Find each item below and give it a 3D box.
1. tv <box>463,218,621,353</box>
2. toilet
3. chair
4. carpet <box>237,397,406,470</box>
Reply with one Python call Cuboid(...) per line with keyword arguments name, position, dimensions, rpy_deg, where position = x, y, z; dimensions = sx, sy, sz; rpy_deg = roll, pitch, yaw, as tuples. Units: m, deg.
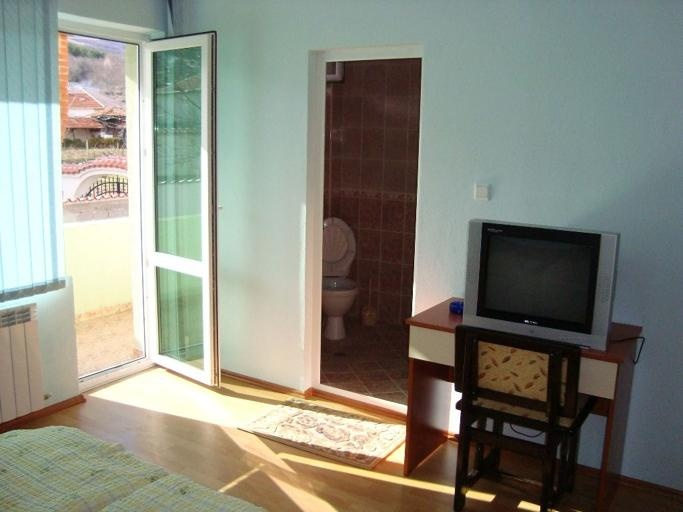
Cuboid(name="tv", position=(1.004, 0.184, 2.984), dimensions=(0.784, 0.616, 0.420), rpy_deg=(7, -9, 2))
Cuboid(name="toilet", position=(-0.025, 0.217, 5.158), dimensions=(0.341, 1.085, 0.609), rpy_deg=(3, 12, -3))
Cuboid(name="chair", position=(0.977, 0.861, 2.940), dimensions=(0.658, 1.035, 0.582), rpy_deg=(10, 13, 30))
Cuboid(name="carpet", position=(-0.111, 1.170, 3.621), dimensions=(1.037, 0.038, 0.556), rpy_deg=(7, 12, 19))
